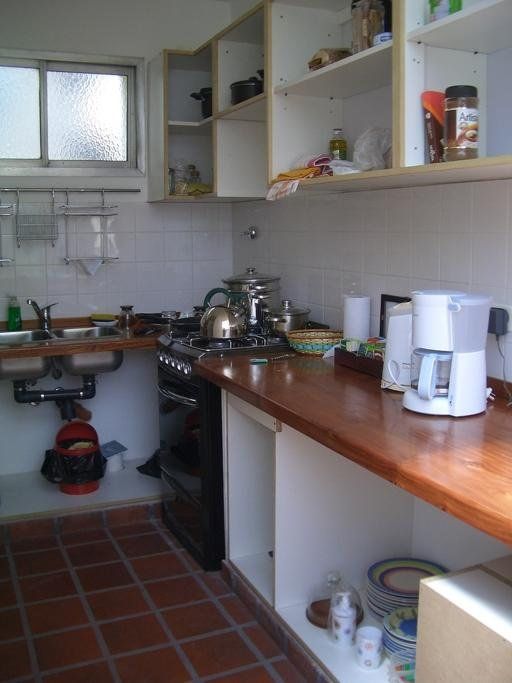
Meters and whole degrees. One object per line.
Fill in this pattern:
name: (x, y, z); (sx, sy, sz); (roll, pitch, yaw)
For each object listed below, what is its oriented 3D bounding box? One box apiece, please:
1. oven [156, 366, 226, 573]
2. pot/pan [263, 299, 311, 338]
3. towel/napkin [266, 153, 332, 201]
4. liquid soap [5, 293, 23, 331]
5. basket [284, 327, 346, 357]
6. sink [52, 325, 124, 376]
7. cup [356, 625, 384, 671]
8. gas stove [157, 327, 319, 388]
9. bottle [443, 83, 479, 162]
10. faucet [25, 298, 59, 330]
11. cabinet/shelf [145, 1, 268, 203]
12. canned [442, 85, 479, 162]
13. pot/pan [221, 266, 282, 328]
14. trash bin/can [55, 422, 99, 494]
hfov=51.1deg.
oven: (-0.160, 0.525, 2.387); (0.562, 0.658, 0.506); (-3, 7, -26)
pot/pan: (0.147, -0.112, 2.417); (0.162, 0.170, 0.199); (-3, 13, -24)
towel/napkin: (0.166, -0.591, 1.894); (0.138, 0.142, 0.330); (-3, 4, -25)
liquid soap: (-1.349, -0.155, 2.983); (0.087, 0.197, 0.134); (-3, 4, -24)
basket: (0.220, -0.011, 2.166); (0.212, 0.093, 0.251); (-3, 12, -28)
sink: (-0.888, 0.045, 2.845); (0.306, 0.246, 0.626); (-3, 8, -28)
cup: (0.306, 0.835, 1.466); (0.076, 0.083, 0.076); (1, 4, 0)
gas stove: (-0.175, 0.058, 2.404); (0.430, 0.203, 0.634); (-4, 8, -26)
bottle: (0.451, -0.477, 1.204); (0.051, 0.177, 0.076); (-4, 16, -22)
faucet: (-1.202, -0.148, 2.998); (0.150, 0.179, 0.267); (-3, 4, -20)
cabinet/shelf: (-0.254, -1.159, 2.792); (0.493, 1.078, 0.681); (-3, 16, -24)
canned: (0.450, -0.472, 1.204); (0.052, 0.176, 0.078); (-4, 16, -22)
pot/pan: (0.009, -0.240, 2.729); (0.275, 0.318, 0.289); (-7, 16, -39)
trash bin/can: (-0.958, 0.623, 2.874); (0.228, 0.338, 0.252); (0, 12, -15)
